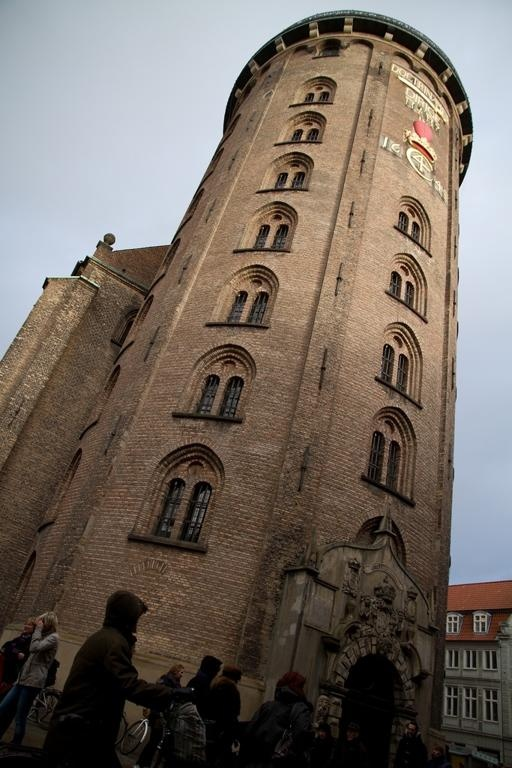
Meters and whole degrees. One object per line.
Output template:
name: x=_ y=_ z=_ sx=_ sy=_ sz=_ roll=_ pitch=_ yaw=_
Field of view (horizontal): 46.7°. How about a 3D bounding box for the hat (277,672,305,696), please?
hat: x=0.304 y=2.503 z=5.034 sx=0.210 sy=0.206 sz=0.410 roll=9 pitch=-32 yaw=11
